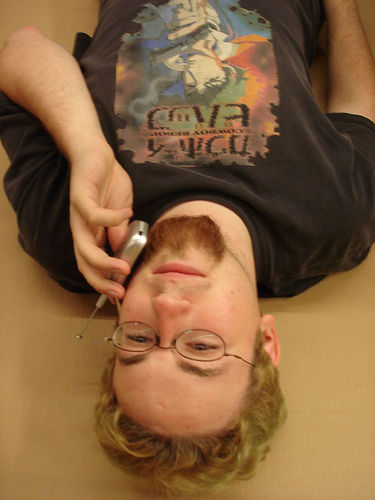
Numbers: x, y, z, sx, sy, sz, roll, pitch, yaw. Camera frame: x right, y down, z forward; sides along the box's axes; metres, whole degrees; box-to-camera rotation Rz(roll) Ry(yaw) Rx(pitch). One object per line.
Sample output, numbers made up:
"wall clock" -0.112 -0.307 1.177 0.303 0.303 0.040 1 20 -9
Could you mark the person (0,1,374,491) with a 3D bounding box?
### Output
"person" 0.074 -0.183 1.634 1.062 0.482 1.531 -1 41 8
